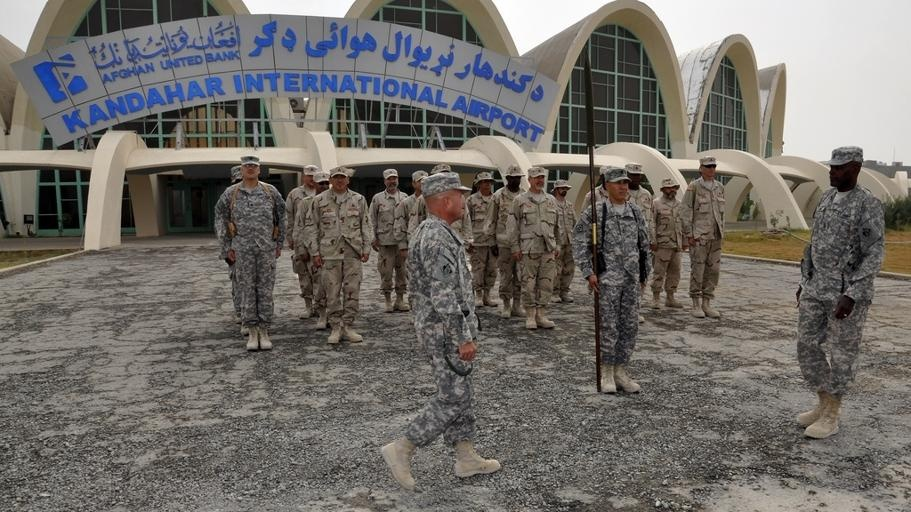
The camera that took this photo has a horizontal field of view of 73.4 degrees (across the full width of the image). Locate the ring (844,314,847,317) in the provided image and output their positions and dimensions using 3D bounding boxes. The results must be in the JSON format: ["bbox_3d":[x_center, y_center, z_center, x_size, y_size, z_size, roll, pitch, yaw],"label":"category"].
[{"bbox_3d":[5.058,0.753,7.869,0.056,0.035,0.013,5,19,-3],"label":"ring"}]

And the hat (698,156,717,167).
[{"bbox_3d":[4.958,-1.865,12.055,0.402,0.196,0.513,-1,4,3],"label":"hat"}]

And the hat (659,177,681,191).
[{"bbox_3d":[4.397,-1.501,12.494,0.411,0.194,0.346,-7,8,20],"label":"hat"}]

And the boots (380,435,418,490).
[{"bbox_3d":[-0.694,2.479,7.376,0.392,0.607,0.270,-1,6,-12],"label":"boots"}]

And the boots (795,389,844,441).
[{"bbox_3d":[4.823,2.068,8.041,0.570,0.562,0.330,-2,6,-17],"label":"boots"}]

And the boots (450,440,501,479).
[{"bbox_3d":[0.200,2.492,7.605,0.811,0.522,0.276,-2,5,-12],"label":"boots"}]

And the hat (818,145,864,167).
[{"bbox_3d":[5.119,-1.320,8.017,0.416,0.232,0.249,-1,6,-11],"label":"hat"}]
